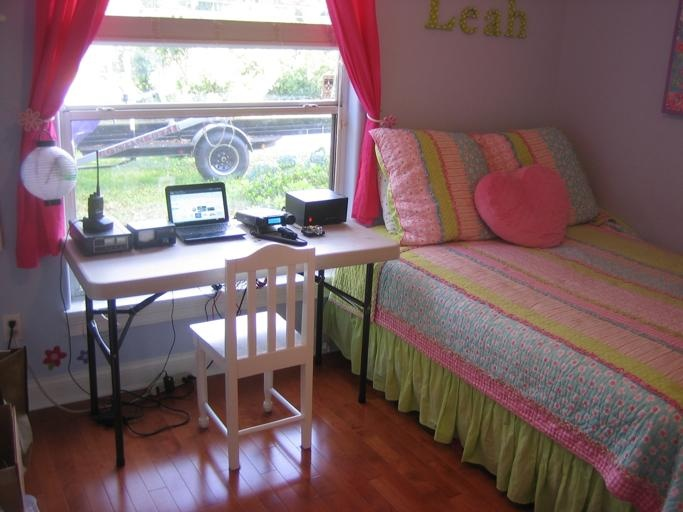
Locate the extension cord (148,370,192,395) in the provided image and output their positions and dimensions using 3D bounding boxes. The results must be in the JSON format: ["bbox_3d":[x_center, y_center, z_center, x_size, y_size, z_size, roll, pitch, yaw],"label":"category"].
[{"bbox_3d":[-0.952,0.676,3.084,0.178,0.097,0.112,-15,7,-25],"label":"extension cord"}]

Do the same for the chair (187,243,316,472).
[{"bbox_3d":[-0.439,0.513,2.658,0.547,1.320,0.594,-11,35,-27],"label":"chair"}]

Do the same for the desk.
[{"bbox_3d":[-0.427,0.484,2.781,1.436,0.920,0.624,-5,2,-17],"label":"desk"}]

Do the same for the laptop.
[{"bbox_3d":[-0.679,-0.221,2.766,0.404,0.233,0.421,7,15,21],"label":"laptop"}]

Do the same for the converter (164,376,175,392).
[{"bbox_3d":[-0.939,0.696,3.034,0.056,0.086,0.023,-4,6,-31],"label":"converter"}]
